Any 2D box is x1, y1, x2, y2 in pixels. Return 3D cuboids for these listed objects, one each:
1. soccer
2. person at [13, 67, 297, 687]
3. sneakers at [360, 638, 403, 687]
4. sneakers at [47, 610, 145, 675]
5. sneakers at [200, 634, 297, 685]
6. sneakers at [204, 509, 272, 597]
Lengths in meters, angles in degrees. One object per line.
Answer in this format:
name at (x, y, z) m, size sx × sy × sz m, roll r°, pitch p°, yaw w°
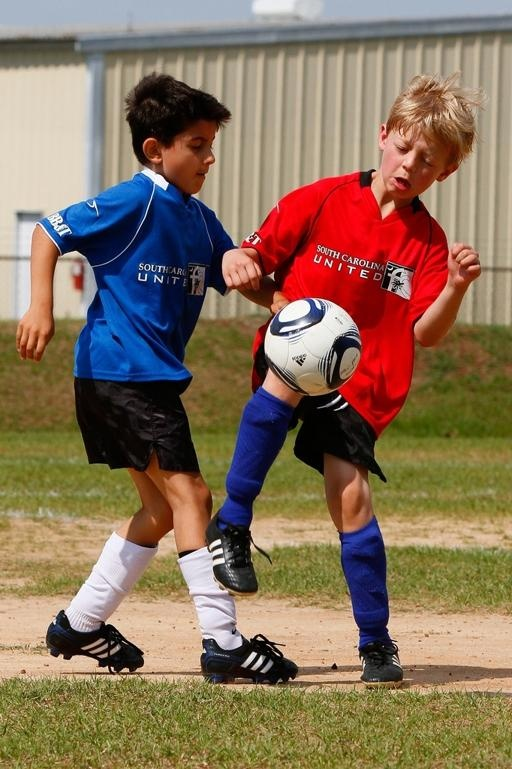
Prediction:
soccer at (0.173, -0.118, 3.016) m, size 0.290 × 0.292 × 0.234 m, roll 3°, pitch 3°, yaw 1°
person at (-0.305, -0.020, 3.222) m, size 0.901 × 2.064 × 0.628 m, roll 4°, pitch 4°, yaw 2°
sneakers at (0.388, 0.868, 3.110) m, size 0.130 × 0.116 × 0.199 m, roll 3°, pitch 3°, yaw 5°
sneakers at (-0.525, 0.851, 3.340) m, size 0.369 × 0.158 × 0.157 m, roll 21°, pitch 3°, yaw -15°
sneakers at (-0.025, 0.845, 3.097) m, size 0.330 × 0.130 × 0.115 m, roll 9°, pitch -9°, yaw -32°
sneakers at (-0.042, 0.487, 2.938) m, size 0.191 × 0.142 × 0.295 m, roll 4°, pitch 37°, yaw -20°
